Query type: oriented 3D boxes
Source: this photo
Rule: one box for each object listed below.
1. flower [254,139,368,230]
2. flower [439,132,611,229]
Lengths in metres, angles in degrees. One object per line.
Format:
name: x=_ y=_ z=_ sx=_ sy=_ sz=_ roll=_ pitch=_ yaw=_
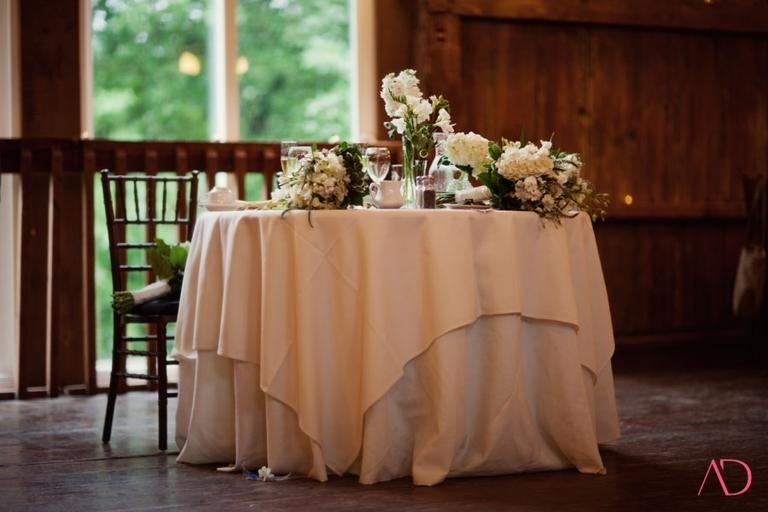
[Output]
flower: x=-0.385 y=-0.399 z=4.649 sx=0.557 sy=0.436 sz=0.369 roll=-1 pitch=9 yaw=-4
flower: x=0.865 y=-0.481 z=4.884 sx=0.469 sy=0.360 sz=0.576 roll=10 pitch=-1 yaw=-39
